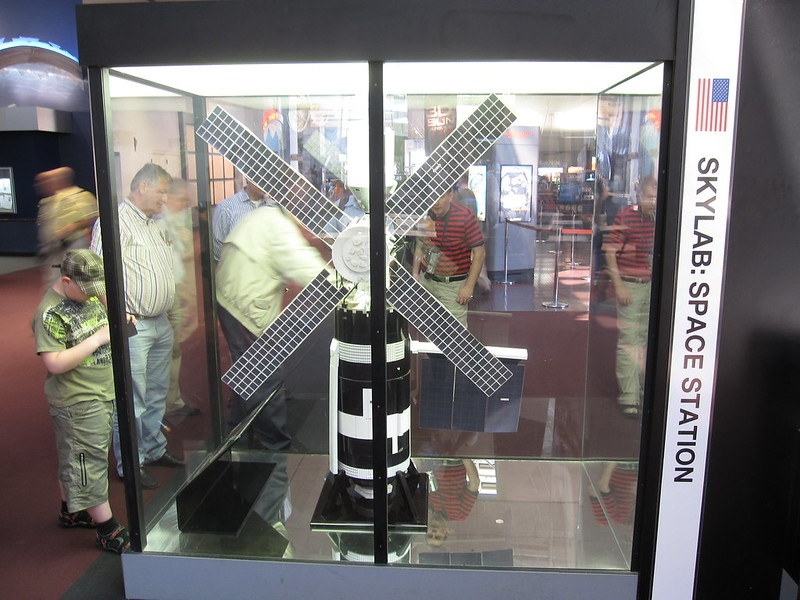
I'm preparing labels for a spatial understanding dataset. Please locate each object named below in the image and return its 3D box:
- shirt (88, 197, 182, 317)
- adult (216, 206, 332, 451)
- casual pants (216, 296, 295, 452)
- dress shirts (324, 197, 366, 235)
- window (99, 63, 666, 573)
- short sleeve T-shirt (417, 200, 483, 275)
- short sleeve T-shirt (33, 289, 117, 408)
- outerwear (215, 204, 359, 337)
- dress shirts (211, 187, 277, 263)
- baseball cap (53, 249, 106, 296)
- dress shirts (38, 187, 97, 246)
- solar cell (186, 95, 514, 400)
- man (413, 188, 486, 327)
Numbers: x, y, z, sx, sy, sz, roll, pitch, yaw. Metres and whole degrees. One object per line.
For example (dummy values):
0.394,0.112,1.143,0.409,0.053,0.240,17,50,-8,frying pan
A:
-1.578,-0.261,4.033,0.294,0.600,0.563,8,15,6,shirt
-0.814,0.134,4.252,0.730,1.784,0.716,-18,36,-38,adult
-0.999,0.503,4.552,0.494,1.512,0.429,-6,43,-23,casual pants
-0.301,-0.479,3.818,0.201,0.211,0.055,48,5,14,dress shirts
-0.015,0.073,3.983,2.499,2.919,0.908,0,12,2,window
0.292,-0.350,4.123,0.484,0.494,0.261,-6,-15,26,short sleeve T-shirt
-2.081,0.304,4.402,0.375,0.782,0.632,3,9,21,short sleeve T-shirt
-0.902,-0.275,4.608,0.609,0.894,1.087,4,20,-41,outerwear
-0.966,-0.492,4.227,0.421,0.415,0.165,-5,44,-17,dress shirts
-1.966,-0.203,4.198,0.375,0.210,0.288,22,3,19,baseball cap
-2.422,-0.607,4.898,0.355,0.295,0.205,-21,-7,0,dress shirts
-0.221,-0.367,3.554,1.607,1.605,0.243,45,3,1,solar cell
0.272,-0.117,4.108,0.397,1.287,0.343,9,23,19,man
